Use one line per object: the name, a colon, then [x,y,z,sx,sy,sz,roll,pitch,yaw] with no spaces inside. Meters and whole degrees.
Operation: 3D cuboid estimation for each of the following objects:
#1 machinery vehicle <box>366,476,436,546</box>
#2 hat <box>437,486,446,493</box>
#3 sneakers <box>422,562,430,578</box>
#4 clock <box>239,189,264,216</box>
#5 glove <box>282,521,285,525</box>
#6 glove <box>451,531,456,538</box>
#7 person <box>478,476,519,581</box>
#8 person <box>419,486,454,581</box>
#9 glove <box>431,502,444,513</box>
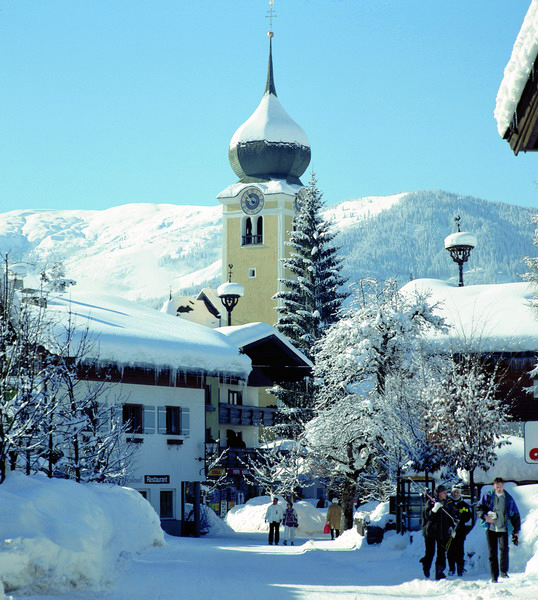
machinery vehicle: [3.037,4.366,29.307,0.778,1.398,0.762,6,-6,-40]
hat: [2.705,2.954,22.048,0.102,0.115,0.081,16,-7,-19]
sneakers: [2.521,4.340,22.596,0.078,0.312,0.114,-3,5,14]
clock: [-0.789,-5.248,74.393,0.107,1.247,1.102,-2,-11,-40]
glove: [0.400,5.585,35.347,0.062,0.093,0.077,3,-2,-45]
glove: [2.853,3.613,21.749,0.069,0.115,0.190,1,-13,-8]
person: [3.414,3.440,21.024,0.692,1.510,0.463,9,-15,-42]
person: [2.654,3.653,22.137,0.462,1.460,0.953,-2,-11,5]
glove: [2.612,3.216,21.920,0.152,0.113,0.049,-45,-13,-2]
